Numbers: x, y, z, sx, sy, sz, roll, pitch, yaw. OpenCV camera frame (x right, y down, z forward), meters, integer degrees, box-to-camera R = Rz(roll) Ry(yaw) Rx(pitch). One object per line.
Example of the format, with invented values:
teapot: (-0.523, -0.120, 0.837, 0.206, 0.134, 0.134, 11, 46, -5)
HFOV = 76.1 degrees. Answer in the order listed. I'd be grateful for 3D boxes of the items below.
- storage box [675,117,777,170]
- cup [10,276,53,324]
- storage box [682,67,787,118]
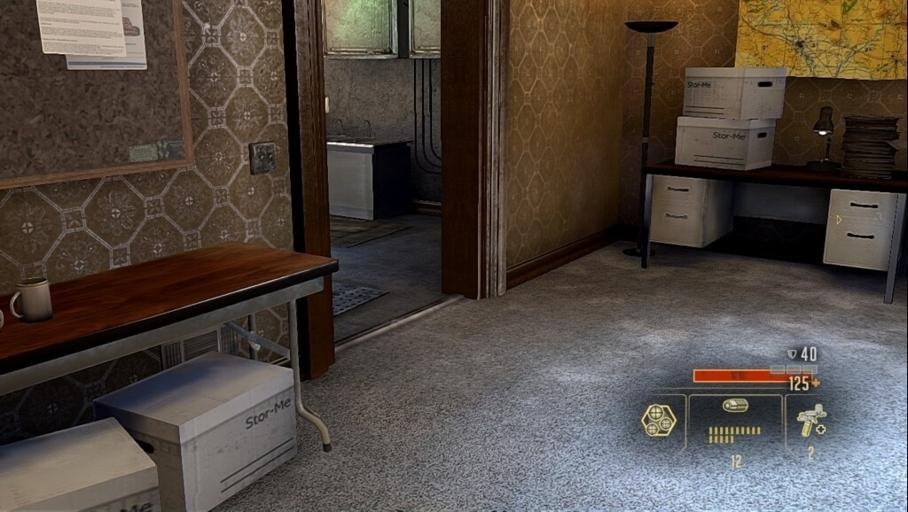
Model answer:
storage box: (2.585, -1.101, 5.449, 0.901, 0.366, 0.856, 3, 18, 14)
cup: (-1.840, 0.180, 2.503, 0.151, 0.151, 0.227, -18, 26, -37)
storage box: (2.647, -1.540, 5.417, 0.881, 0.345, 0.841, 1, 18, 12)
